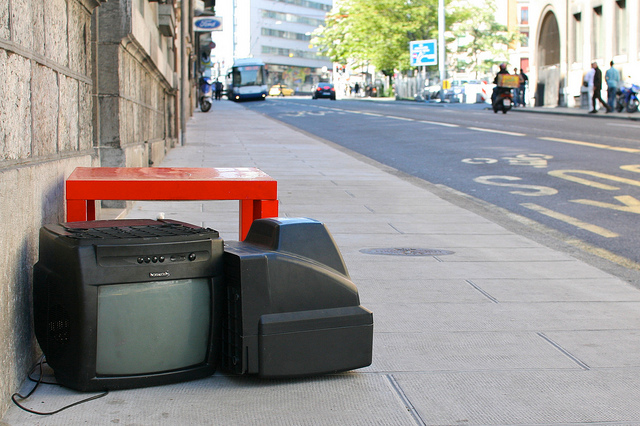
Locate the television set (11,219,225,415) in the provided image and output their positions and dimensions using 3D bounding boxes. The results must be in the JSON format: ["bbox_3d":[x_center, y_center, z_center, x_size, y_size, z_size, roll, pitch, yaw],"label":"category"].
[{"bbox_3d":[-1.247,0.593,4.988,1.107,0.958,0.855,-1,9,-31],"label":"television set"}]

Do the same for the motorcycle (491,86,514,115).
[{"bbox_3d":[8.192,-5.122,33.878,0.797,1.196,0.983,2,13,9],"label":"motorcycle"}]

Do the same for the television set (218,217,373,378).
[{"bbox_3d":[-0.273,0.489,5.220,1.024,0.986,1.040,-1,4,-13],"label":"television set"}]

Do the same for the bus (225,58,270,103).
[{"bbox_3d":[-6.589,-11.891,71.355,3.126,3.895,11.436,-3,1,-4],"label":"bus"}]
